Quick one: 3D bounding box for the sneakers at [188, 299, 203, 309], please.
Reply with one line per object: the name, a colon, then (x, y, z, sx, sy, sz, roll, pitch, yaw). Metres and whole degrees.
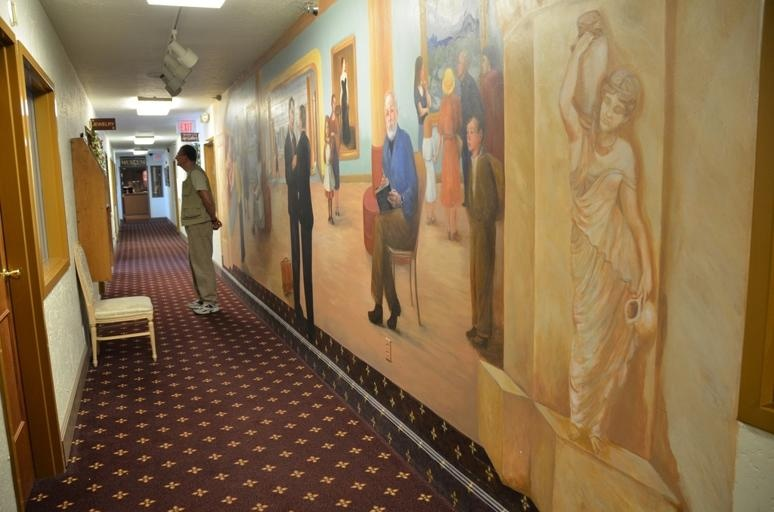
sneakers: (-2.570, 0.614, 7.428, 0.270, 0.141, 0.114, 8, 5, 37)

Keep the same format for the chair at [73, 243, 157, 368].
chair: (-3.045, 0.578, 6.216, 0.807, 1.525, 0.807, -4, 11, -21)

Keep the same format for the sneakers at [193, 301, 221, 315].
sneakers: (-2.353, 0.676, 7.216, 0.342, 0.177, 0.136, 1, 3, -36)

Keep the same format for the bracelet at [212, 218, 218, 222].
bracelet: (-2.203, -0.454, 7.107, 0.046, 0.038, 0.048, 10, 15, 35)

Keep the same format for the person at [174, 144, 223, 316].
person: (-2.415, -0.350, 7.198, 0.466, 2.150, 0.574, -4, 9, -21)

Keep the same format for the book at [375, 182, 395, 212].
book: (-0.022, -0.419, 3.939, 0.043, 0.171, 0.157, -17, 14, -29)
